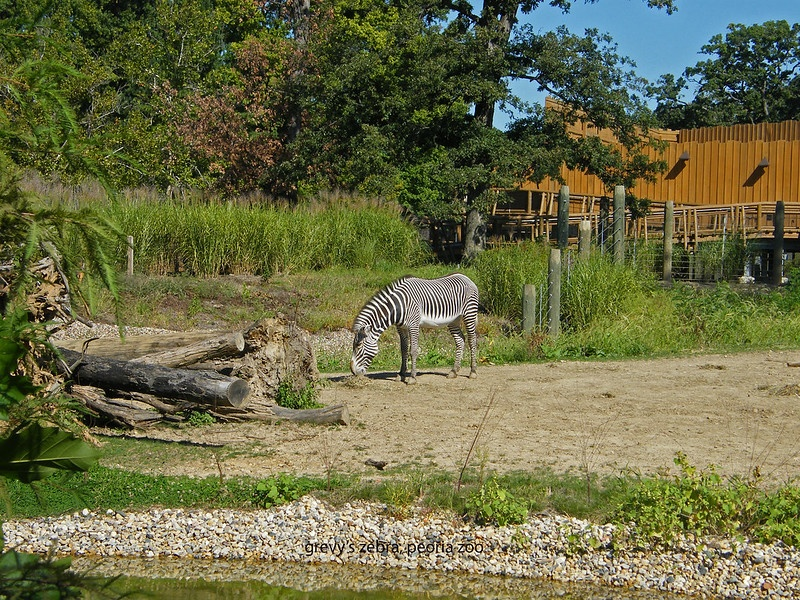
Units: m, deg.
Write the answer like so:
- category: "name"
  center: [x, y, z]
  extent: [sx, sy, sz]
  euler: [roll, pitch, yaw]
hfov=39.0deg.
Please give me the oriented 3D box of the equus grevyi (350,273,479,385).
- category: "equus grevyi"
  center: [0.279, 0.503, 19.190]
  extent: [2.591, 1.869, 0.705]
  euler: [-6, 9, -29]
